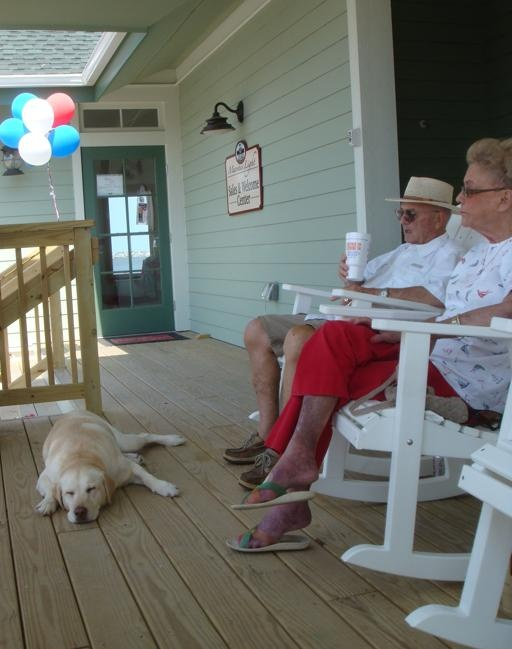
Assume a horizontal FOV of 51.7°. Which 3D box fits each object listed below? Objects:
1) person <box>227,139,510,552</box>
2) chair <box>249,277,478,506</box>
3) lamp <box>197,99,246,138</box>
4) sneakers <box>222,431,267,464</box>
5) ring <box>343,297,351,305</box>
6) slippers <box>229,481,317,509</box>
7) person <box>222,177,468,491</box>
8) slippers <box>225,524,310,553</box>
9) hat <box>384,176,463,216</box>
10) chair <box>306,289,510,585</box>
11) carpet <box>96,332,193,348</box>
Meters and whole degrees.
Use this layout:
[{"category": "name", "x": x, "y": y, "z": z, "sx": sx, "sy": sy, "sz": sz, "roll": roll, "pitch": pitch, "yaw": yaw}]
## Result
[{"category": "person", "x": 0.385, "y": 0.035, "z": 1.954, "sx": 1.414, "sy": 1.187, "sz": 0.820, "roll": -4, "pitch": 8, "yaw": -20}, {"category": "chair", "x": 0.306, "y": 0.238, "z": 2.060, "sx": 0.804, "sy": 0.763, "sz": 0.681, "roll": 1, "pitch": 4, "yaw": -25}, {"category": "lamp", "x": -0.277, "y": -1.886, "z": 4.837, "sx": 0.495, "sy": 0.277, "sz": 0.406, "roll": -12, "pitch": 12, "yaw": -30}, {"category": "sneakers", "x": -0.044, "y": 0.513, "z": 2.217, "sx": 0.232, "sy": 0.090, "sz": 0.076, "roll": -2, "pitch": 7, "yaw": -12}, {"category": "ring", "x": 0.429, "y": -0.109, "z": 2.496, "sx": 0.024, "sy": 0.028, "sz": 0.012, "roll": 15, "pitch": 9, "yaw": 35}, {"category": "slippers", "x": 0.045, "y": 0.416, "z": 1.354, "sx": 0.227, "sy": 0.056, "sz": 0.075, "roll": -1, "pitch": -6, "yaw": -14}, {"category": "person", "x": 0.406, "y": 0.011, "z": 2.241, "sx": 1.103, "sy": 1.172, "sz": 0.761, "roll": -5, "pitch": 11, "yaw": -27}, {"category": "slippers", "x": 0.037, "y": 0.565, "z": 1.447, "sx": 0.202, "sy": 0.045, "sz": 0.084, "roll": 1, "pitch": 0, "yaw": -9}, {"category": "hat", "x": 0.748, "y": -0.551, "z": 2.276, "sx": 0.227, "sy": 0.067, "sz": 0.192, "roll": 10, "pitch": -1, "yaw": -23}, {"category": "chair", "x": 0.284, "y": 0.273, "z": 1.550, "sx": 0.749, "sy": 0.736, "sz": 0.633, "roll": 3, "pitch": 1, "yaw": -10}, {"category": "carpet", "x": -1.275, "y": 0.155, "z": 6.186, "sx": 0.874, "sy": 0.061, "sz": 0.799, "roll": -5, "pitch": 4, "yaw": -18}]
